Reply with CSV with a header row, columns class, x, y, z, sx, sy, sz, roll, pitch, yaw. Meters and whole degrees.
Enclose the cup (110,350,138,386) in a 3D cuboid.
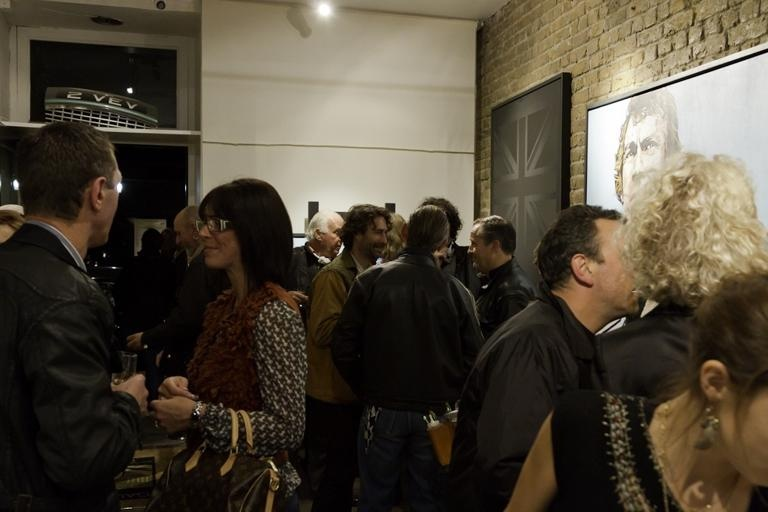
class,x,y,z,sx,sy,sz,roll,pitch,yaw
cup,-0.994,0.421,2.189,0.072,0.119,0.115,4,0,1
